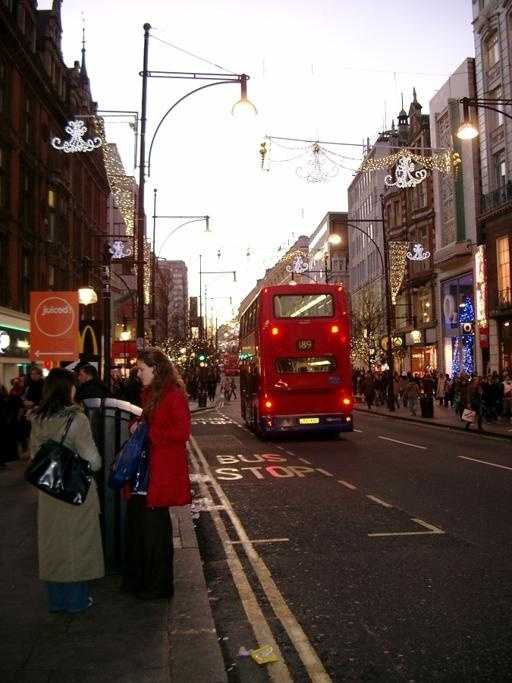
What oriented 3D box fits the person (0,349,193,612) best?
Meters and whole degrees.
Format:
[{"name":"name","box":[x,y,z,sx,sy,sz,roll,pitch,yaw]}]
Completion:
[{"name":"person","box":[-0.964,0.924,4.532,1.097,1.738,0.504,-1,-2,-24]}]

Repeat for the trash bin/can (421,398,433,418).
[{"name":"trash bin/can","box":[6.937,2.660,27.196,0.438,0.602,0.438,-3,-2,9]}]

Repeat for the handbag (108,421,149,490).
[{"name":"handbag","box":[-0.908,0.821,4.769,0.207,0.562,0.457,13,-7,-4]}]

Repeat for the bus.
[{"name":"bus","box":[1.117,0.287,20.476,1.900,3.402,5.742,-1,4,-3]}]

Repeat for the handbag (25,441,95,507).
[{"name":"handbag","box":[-1.241,0.825,4.227,0.398,0.408,0.197,-2,-2,-21]}]
